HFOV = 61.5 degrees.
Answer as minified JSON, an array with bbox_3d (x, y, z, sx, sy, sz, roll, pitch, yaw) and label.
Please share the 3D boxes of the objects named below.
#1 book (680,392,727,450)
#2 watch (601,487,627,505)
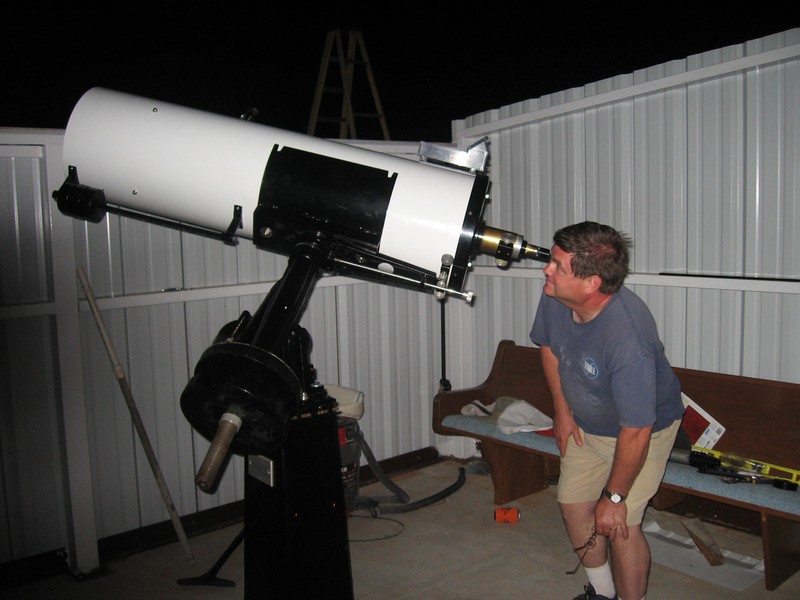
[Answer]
[{"bbox_3d":[2.014,0.793,4.417,0.491,0.520,0.029,3,-5,-21],"label":"book"},{"bbox_3d":[1.078,0.961,3.368,0.078,0.045,0.079,13,6,-6],"label":"watch"}]
